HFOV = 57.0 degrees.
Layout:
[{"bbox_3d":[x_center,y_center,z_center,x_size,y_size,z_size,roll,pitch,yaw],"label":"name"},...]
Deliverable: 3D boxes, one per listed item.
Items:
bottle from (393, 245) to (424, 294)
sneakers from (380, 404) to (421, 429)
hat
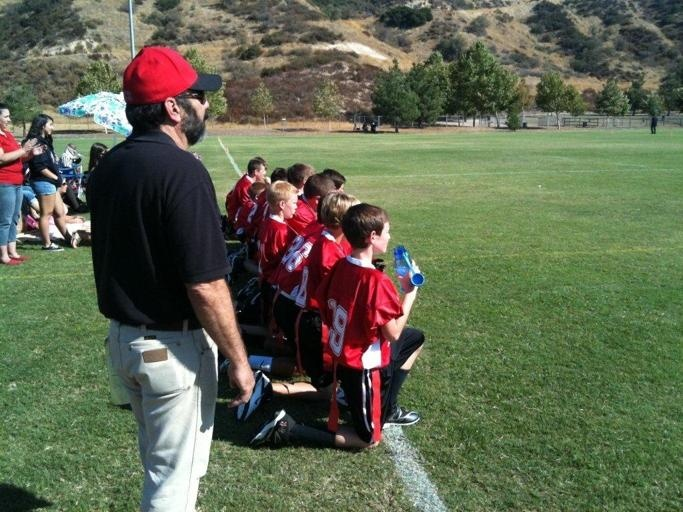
[{"bbox_3d":[0.522,0.093,4.956,0.204,0.305,0.444,0,11,4],"label":"bottle"},{"bbox_3d":[0.494,1.344,5.271,0.312,0.163,0.132,-5,4,-4],"label":"sneakers"},{"bbox_3d":[-1.051,-1.089,3.911,0.526,0.307,0.365,-10,31,-15],"label":"hat"}]
